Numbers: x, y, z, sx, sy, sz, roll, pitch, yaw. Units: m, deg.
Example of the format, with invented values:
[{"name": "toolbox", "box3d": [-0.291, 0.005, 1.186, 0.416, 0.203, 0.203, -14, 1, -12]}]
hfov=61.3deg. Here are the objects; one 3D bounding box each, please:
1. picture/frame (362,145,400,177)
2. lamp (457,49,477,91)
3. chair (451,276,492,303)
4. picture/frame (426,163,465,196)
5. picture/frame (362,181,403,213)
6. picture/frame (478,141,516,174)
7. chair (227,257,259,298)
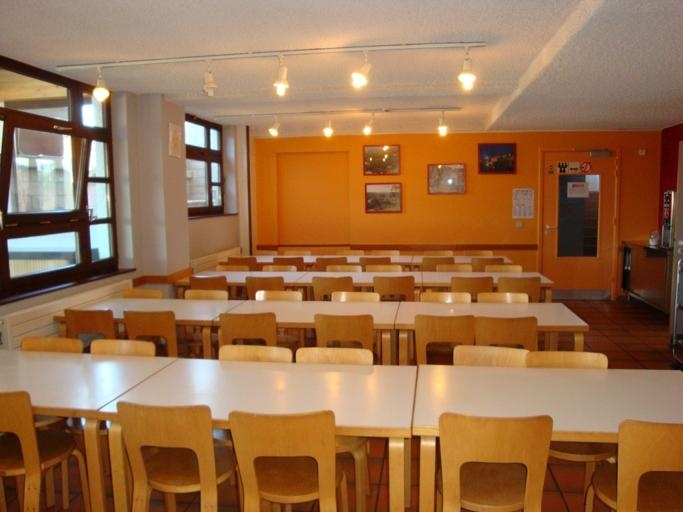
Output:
[{"name": "picture/frame", "box3d": [0.761, -1.803, 10.749, 0.547, 0.466, 0.056, 2, 12, 10]}, {"name": "lamp", "box3d": [1.143, -1.721, 5.284, 0.151, 0.362, 0.149, 1, -5, 28]}, {"name": "chair", "box3d": [1.478, 0.312, 6.466, 0.348, 0.376, 0.237, 1, 18, 9]}, {"name": "picture/frame", "box3d": [1.935, -1.445, 10.600, 0.547, 0.487, 0.060, 1, 5, 9]}, {"name": "picture/frame", "box3d": [0.797, -1.137, 10.811, 0.551, 0.488, 0.038, 1, 11, 7]}, {"name": "picture/frame", "box3d": [2.819, -1.807, 10.394, 0.551, 0.489, 0.042, 1, 3, 9]}, {"name": "chair", "box3d": [-1.434, 0.203, 8.486, 0.320, 0.346, 0.226, 3, 20, 6]}]
